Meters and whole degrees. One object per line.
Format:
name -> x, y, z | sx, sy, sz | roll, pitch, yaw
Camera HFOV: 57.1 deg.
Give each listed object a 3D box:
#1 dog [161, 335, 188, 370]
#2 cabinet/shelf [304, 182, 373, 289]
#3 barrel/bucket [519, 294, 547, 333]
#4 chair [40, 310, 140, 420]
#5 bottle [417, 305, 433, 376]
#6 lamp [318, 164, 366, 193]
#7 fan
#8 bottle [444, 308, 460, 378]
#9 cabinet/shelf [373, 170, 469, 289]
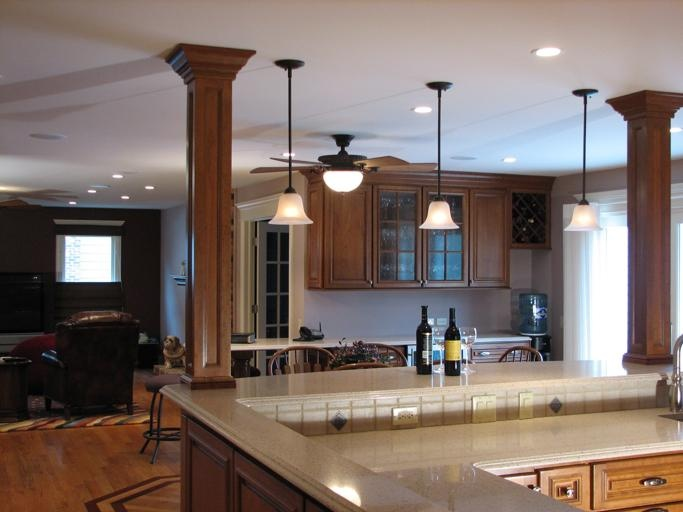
dog -> -2.177, 1.226, 8.188 | 0.243, 0.408, 0.397 | 0, 0, -19
cabinet/shelf -> -0.036, -0.254, 6.891 | 0.735, 1.187, 0.308 | 0, 1, 3
barrel/bucket -> 2.311, 0.686, 7.545 | 0.300, 0.476, 0.194 | 0, 1, 8
chair -> -2.937, 1.258, 7.254 | 1.168, 1.128, 1.126 | -3, -9, -4
bottle -> 0.459, 0.456, 3.468 | 0.084, 0.385, 0.258 | 0, 1, 5
lamp -> 0.016, -0.595, 4.770 | 0.304, 0.169, 0.216 | 0, 0, 1
fan -> 0.041, -0.725, 5.212 | 0.841, 0.087, 0.869 | 0, -1, -20
bottle -> 0.612, 0.463, 3.449 | 0.093, 0.373, 0.264 | 0, 1, 10
cabinet/shelf -> 0.804, -0.302, 6.796 | 1.406, 1.261, 0.482 | 1, -3, -16
